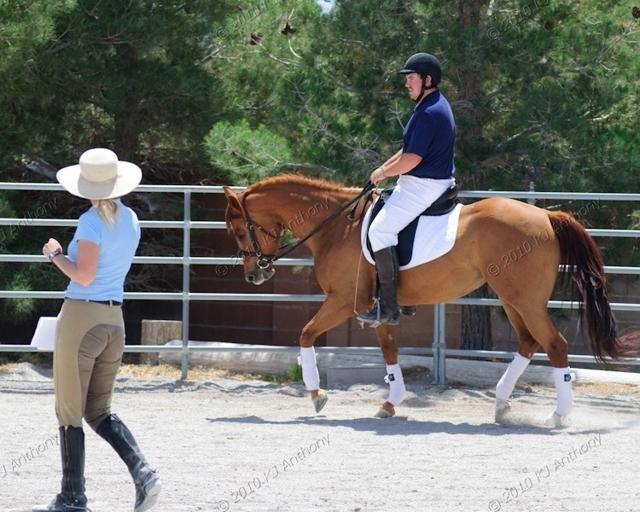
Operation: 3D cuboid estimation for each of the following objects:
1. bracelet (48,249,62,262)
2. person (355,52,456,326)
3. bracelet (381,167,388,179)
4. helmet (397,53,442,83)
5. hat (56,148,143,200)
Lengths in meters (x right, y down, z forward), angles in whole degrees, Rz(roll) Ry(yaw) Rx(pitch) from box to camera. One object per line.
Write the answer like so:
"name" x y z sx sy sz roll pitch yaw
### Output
"bracelet" -2.520 -0.013 13.363 0.124 0.050 0.125 -8 37 36
"person" 0.984 -0.726 15.231 0.965 2.932 0.370 0 -2 1
"bracelet" 0.689 -0.900 15.192 0.069 0.095 0.095 -5 -5 13
"helmet" 1.131 -2.077 15.393 0.498 0.298 0.352 6 4 5
"hat" -2.122 -0.864 13.565 0.678 0.260 0.716 -19 -8 28
